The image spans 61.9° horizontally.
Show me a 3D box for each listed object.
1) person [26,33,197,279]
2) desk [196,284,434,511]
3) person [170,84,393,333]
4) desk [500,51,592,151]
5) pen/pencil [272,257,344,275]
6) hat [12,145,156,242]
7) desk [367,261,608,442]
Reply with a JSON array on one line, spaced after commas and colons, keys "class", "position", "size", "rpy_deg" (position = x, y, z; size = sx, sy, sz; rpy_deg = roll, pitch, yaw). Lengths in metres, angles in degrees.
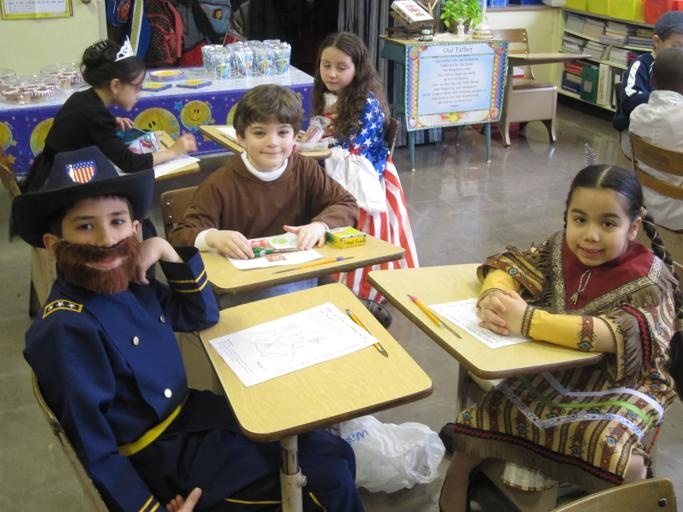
[{"class": "person", "position": [-1.300, -0.473, 3.221], "size": [0.911, 1.376, 0.752], "rpy_deg": [-6, 20, -28]}, {"class": "desk", "position": [-0.072, 0.455, 1.729], "size": [0.535, 0.562, 0.560], "rpy_deg": [-16, 41, -24]}, {"class": "person", "position": [-0.312, -0.127, 2.309], "size": [0.739, 1.077, 0.628], "rpy_deg": [-3, 24, -11]}, {"class": "desk", "position": [1.896, -1.650, 6.083], "size": [0.943, 0.957, 0.961], "rpy_deg": [-6, 27, -9]}, {"class": "pen/pencil", "position": [-0.114, 0.033, 1.882], "size": [0.171, 0.015, 0.015], "rpy_deg": [-14, 40, -28]}, {"class": "hat", "position": [-0.677, -0.118, 1.520], "size": [0.255, 0.121, 0.307], "rpy_deg": [-7, -4, -17]}, {"class": "desk", "position": [0.388, 0.141, 1.640], "size": [0.326, 0.316, 0.620], "rpy_deg": [-10, 28, -20]}]
